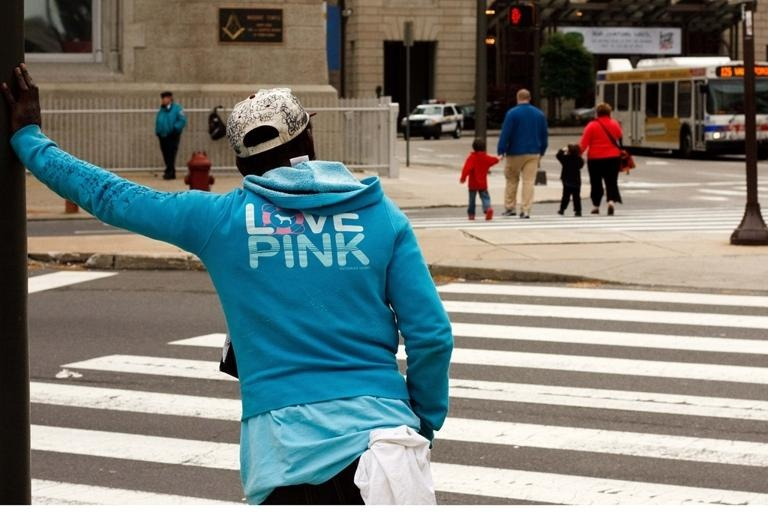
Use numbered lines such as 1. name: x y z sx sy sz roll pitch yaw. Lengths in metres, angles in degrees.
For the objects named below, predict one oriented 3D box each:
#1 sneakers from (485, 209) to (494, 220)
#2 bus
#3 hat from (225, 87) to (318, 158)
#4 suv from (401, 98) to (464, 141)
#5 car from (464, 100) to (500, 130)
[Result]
1. sneakers: 1.845 -0.724 20.597 0.102 0.109 0.275 -1 -29 -2
2. bus: 9.245 -4.915 37.647 1.877 3.192 8.586 -3 14 -13
3. hat: -0.696 -0.834 7.156 0.353 0.268 0.480 5 33 46
4. suv: 2.527 -6.232 53.761 2.084 1.577 3.761 1 0 30
5. car: 4.931 -7.044 58.875 1.903 1.286 3.264 2 14 8
